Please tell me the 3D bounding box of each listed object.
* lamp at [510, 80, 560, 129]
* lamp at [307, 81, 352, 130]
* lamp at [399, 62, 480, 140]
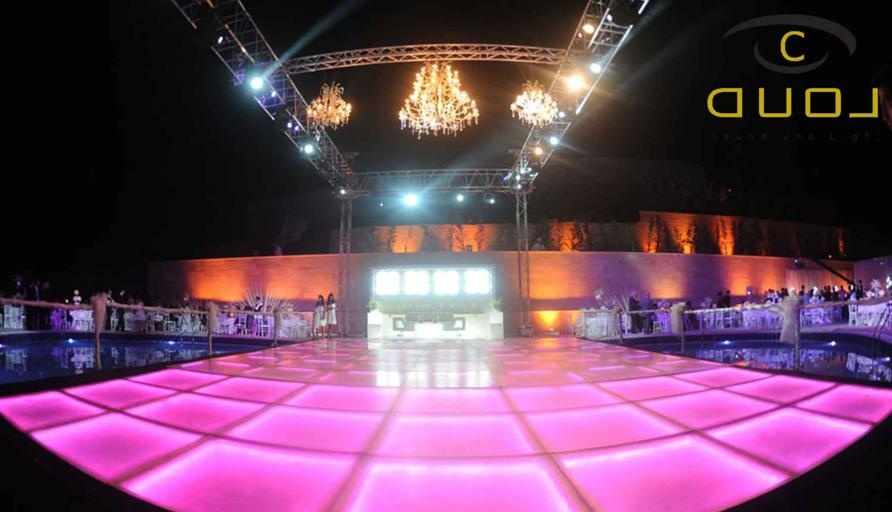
[{"bbox_3d":[3.565,-6.221,22.327,1.604,1.899,1.118,0,-3,-21],"label":"lamp"},{"bbox_3d":[-4.730,-6.249,22.400,1.540,1.928,1.665,0,-3,-14],"label":"lamp"},{"bbox_3d":[-0.342,-6.338,21.945,2.149,2.963,1.508,-1,-3,9],"label":"lamp"}]
